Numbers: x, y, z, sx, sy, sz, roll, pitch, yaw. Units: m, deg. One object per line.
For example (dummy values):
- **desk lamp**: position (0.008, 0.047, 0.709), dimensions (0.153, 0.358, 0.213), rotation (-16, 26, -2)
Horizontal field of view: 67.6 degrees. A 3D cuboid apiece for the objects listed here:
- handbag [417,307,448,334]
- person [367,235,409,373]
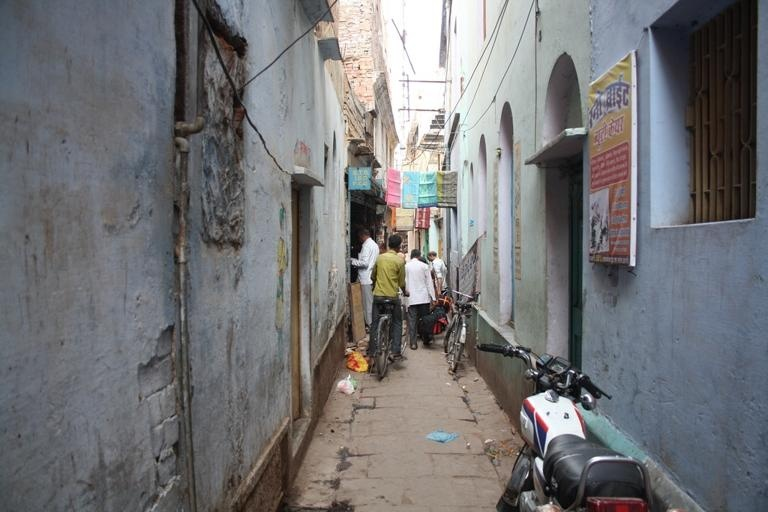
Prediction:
- **handbag**: position (0.932, 1.170, 10.869), dimensions (0.459, 0.546, 0.374), rotation (6, 11, 18)
- **person**: position (0.024, 0.720, 9.036), dimensions (0.511, 2.112, 1.592), rotation (1, 5, 15)
